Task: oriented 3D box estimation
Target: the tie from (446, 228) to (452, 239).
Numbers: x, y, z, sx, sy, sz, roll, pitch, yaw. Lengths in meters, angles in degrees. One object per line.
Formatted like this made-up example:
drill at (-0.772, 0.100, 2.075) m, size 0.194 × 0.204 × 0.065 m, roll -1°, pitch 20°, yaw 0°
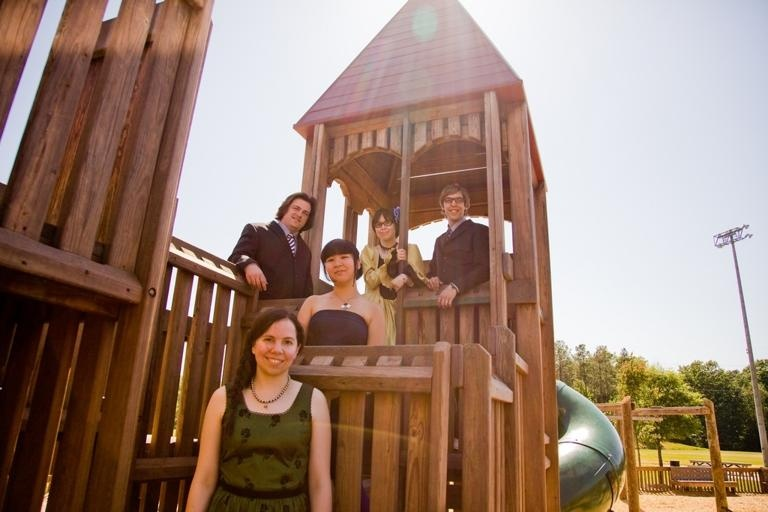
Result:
tie at (0.812, -0.284, 5.728) m, size 0.063 × 0.096 × 0.024 m, roll -11°, pitch -28°, yaw 42°

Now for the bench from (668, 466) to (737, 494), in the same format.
bench at (12.630, 9.150, 18.910) m, size 1.519 × 0.986 × 2.719 m, roll -12°, pitch -26°, yaw 29°

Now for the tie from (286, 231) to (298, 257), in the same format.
tie at (-1.024, -0.129, 5.160) m, size 0.047 × 0.217 × 0.153 m, roll -4°, pitch -16°, yaw 18°

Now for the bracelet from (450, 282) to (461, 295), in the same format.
bracelet at (0.767, 0.340, 4.924) m, size 0.108 × 0.128 × 0.054 m, roll 1°, pitch -21°, yaw 1°

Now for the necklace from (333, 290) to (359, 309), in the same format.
necklace at (-0.354, 0.407, 4.216) m, size 0.198 × 0.146 × 0.089 m, roll -22°, pitch 12°, yaw 30°

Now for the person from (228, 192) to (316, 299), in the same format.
person at (-1.138, -0.099, 5.064) m, size 0.372 × 1.346 × 1.083 m, roll -12°, pitch -25°, yaw 30°
